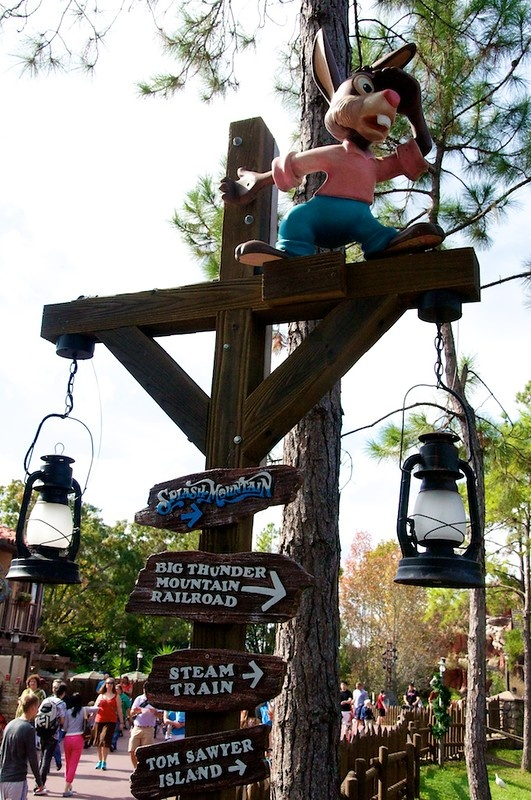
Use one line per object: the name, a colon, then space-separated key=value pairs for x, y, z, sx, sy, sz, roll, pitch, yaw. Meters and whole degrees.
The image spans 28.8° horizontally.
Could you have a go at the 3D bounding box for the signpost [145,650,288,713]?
signpost: x=-0.183 y=1.003 z=3.706 sx=0.524 sy=0.219 sz=0.123 roll=-6 pitch=-20 yaw=22

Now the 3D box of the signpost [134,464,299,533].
signpost: x=-0.192 y=0.375 z=3.895 sx=0.707 sy=0.229 sz=0.123 roll=-6 pitch=-21 yaw=25

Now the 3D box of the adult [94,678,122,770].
adult: x=-2.019 y=4.066 z=13.103 sx=0.414 sy=1.079 sz=0.358 roll=1 pitch=-20 yaw=6

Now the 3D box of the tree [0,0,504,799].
tree: x=-0.093 y=0.092 z=4.085 sx=1.931 sy=2.774 sz=0.347 roll=-8 pitch=-22 yaw=28
